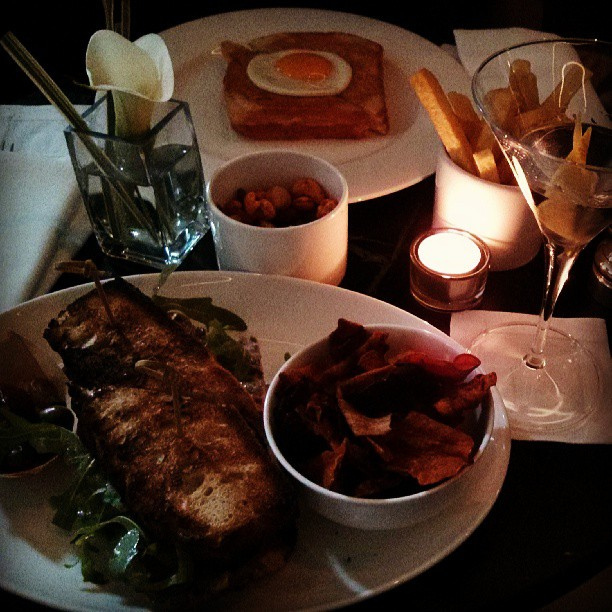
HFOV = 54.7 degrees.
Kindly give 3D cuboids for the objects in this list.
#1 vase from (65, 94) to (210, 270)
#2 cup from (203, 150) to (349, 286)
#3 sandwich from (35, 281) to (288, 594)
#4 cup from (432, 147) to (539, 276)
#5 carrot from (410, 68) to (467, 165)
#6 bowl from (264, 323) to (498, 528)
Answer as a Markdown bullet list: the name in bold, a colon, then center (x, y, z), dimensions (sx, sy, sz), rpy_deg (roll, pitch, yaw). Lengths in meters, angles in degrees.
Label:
- **vase**: center (-0.230, -0.192, 0.840), dimensions (0.135, 0.206, 0.167), rpy_deg (2, 44, 2)
- **cup**: center (-0.034, -0.128, 0.738), dimensions (0.158, 0.144, 0.200), rpy_deg (0, 45, -1)
- **sandwich**: center (-0.152, 0.127, 0.628), dimensions (0.204, 0.105, 0.387), rpy_deg (6, 31, -37)
- **cup**: center (0.245, -0.131, 0.865), dimensions (0.122, 0.128, 0.167), rpy_deg (1, 47, -4)
- **carrot**: center (0.177, -0.245, 0.778), dimensions (0.037, 0.095, 0.105), rpy_deg (-32, 58, -25)
- **bowl**: center (0.069, 0.108, 0.548), dimensions (0.211, 0.083, 0.163), rpy_deg (-16, 55, -11)
